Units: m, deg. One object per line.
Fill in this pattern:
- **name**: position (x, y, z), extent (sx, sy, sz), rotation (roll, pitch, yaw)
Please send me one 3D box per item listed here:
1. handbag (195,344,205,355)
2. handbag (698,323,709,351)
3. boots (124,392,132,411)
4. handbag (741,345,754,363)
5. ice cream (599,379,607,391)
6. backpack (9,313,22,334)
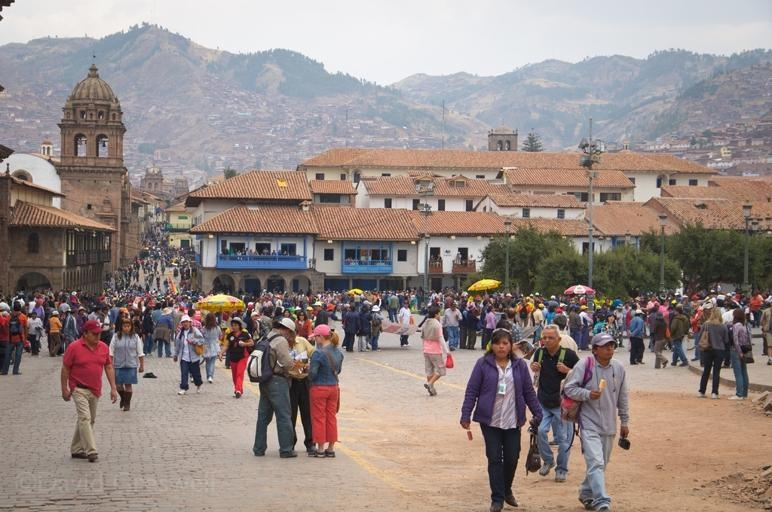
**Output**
- **handbag**: position (-7.121, 3.599, 49.322), extent (0.424, 0.556, 0.350), rotation (0, -9, -7)
- **handbag**: position (12.218, 3.118, 49.244), extent (0.392, 1.015, 0.469), rotation (-1, -5, 14)
- **boots**: position (-9.458, 5.328, 47.198), extent (0.234, 0.716, 0.509), rotation (1, -5, -10)
- **handbag**: position (13.765, 3.739, 48.832), extent (0.359, 0.631, 0.377), rotation (-1, -5, 15)
- **ice cream**: position (7.033, 4.150, 41.466), extent (0.263, 0.340, 0.104), rotation (1, -5, -3)
- **backpack**: position (-15.287, 2.830, 53.014), extent (0.455, 0.845, 0.292), rotation (2, -6, -19)
